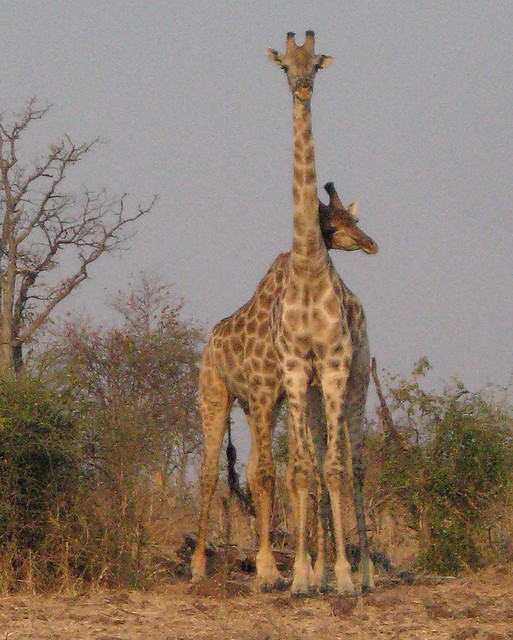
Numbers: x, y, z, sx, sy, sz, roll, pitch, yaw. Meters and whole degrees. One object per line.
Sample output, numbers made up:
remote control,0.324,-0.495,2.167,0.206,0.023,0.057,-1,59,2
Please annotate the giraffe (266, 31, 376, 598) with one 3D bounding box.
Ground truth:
giraffe,0.761,0.201,17.054,1.068,5.183,3.162,-1,-28,8
